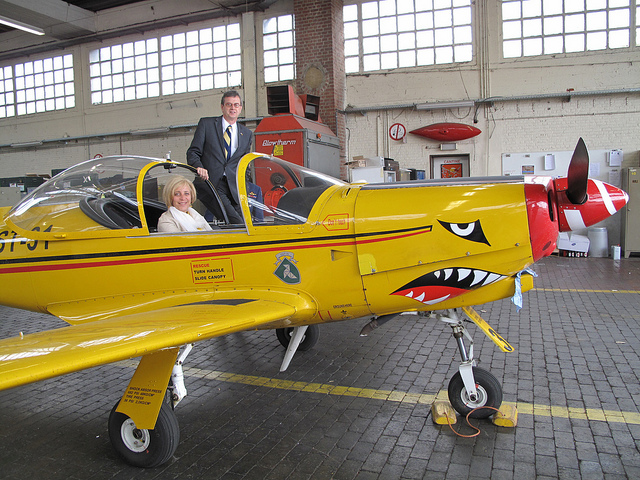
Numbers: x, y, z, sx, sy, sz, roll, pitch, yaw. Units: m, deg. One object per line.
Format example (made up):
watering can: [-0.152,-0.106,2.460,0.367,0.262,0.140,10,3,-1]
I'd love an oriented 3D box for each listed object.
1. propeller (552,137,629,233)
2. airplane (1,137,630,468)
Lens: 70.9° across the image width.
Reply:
propeller: [1.778,-0.371,3.016,0.497,0.615,0.266,-10,12,-33]
airplane: [-0.486,0.132,3.234,3.636,1.131,3.025,-1,6,24]
